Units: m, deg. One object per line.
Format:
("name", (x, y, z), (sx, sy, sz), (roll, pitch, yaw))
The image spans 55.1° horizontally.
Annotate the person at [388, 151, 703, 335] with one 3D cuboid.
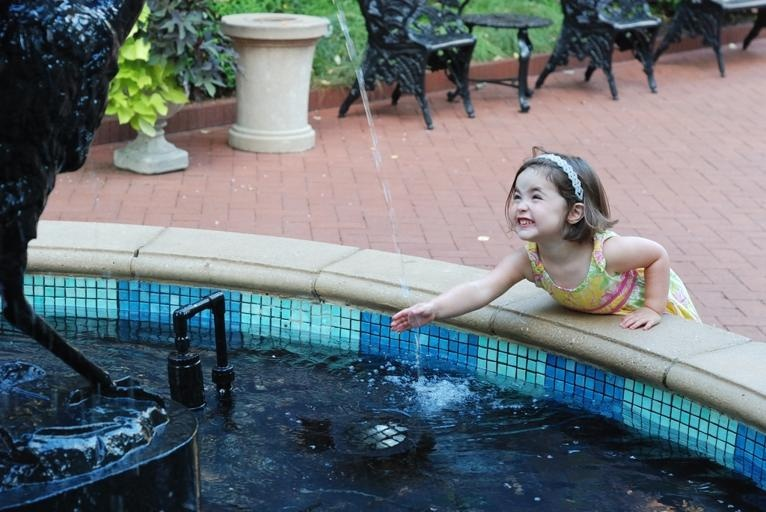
("person", (1.004, -0.035, 3.838), (1.761, 0.841, 0.781), (4, -3, -30))
